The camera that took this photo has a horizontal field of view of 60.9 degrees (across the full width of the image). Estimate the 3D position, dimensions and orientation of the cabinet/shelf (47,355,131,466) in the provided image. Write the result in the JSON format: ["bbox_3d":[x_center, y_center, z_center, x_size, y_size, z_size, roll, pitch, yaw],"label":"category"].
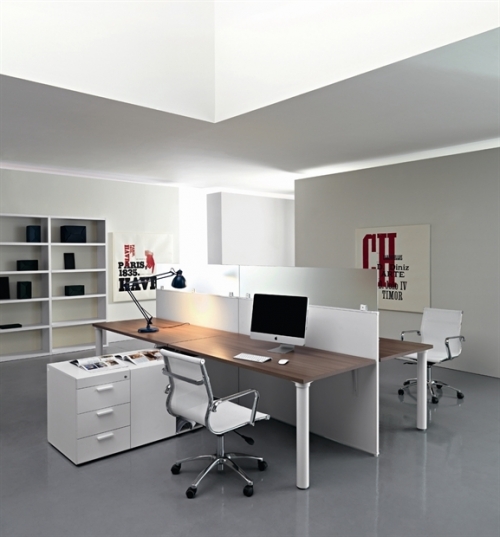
[{"bbox_3d":[-1.227,1.053,3.244,0.616,0.641,0.413,-1,0,44],"label":"cabinet/shelf"}]

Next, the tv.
[{"bbox_3d":[0.233,0.431,3.297,0.368,0.385,0.121,1,-3,43],"label":"tv"}]

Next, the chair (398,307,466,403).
[{"bbox_3d":[2.048,0.988,4.712,0.727,1.192,0.795,0,0,-43],"label":"chair"}]

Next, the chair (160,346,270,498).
[{"bbox_3d":[-0.196,0.951,2.794,0.670,0.864,0.699,0,0,-45],"label":"chair"}]
